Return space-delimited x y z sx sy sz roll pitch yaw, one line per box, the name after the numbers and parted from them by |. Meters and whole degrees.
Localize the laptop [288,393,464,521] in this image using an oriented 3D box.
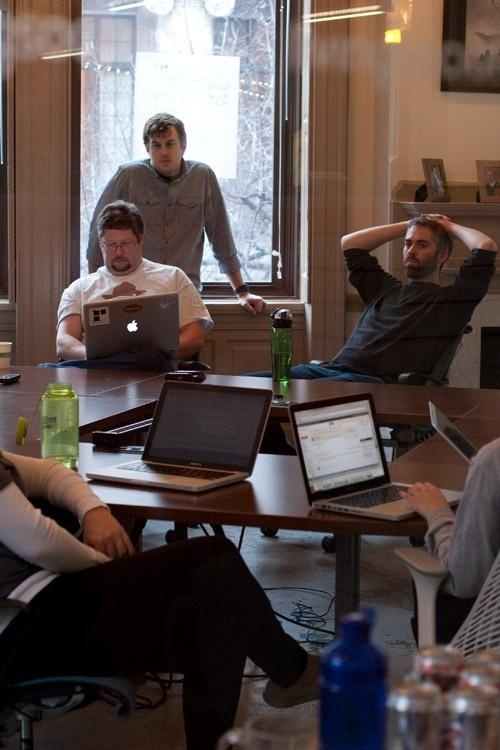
0.208 0.119 1.151 0.213 0.162 0.250 1 6 34 | laptop

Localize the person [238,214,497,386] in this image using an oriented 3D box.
0.573 -0.322 2.853 0.940 0.647 0.611 1 7 -36 | person

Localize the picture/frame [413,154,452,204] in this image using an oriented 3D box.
0.735 -0.773 2.751 0.077 0.187 0.175 -5 10 -24 | picture/frame

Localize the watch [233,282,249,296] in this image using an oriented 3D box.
-0.041 -0.395 3.210 0.067 0.046 0.074 4 13 23 | watch

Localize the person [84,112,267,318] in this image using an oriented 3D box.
-0.367 -0.572 3.323 0.927 1.260 0.330 2 30 -4 | person

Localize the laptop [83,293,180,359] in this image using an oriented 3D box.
-0.399 -0.169 2.362 0.314 0.200 0.207 -1 39 -5 | laptop

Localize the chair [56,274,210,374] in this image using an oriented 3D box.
-0.493 -0.129 2.932 0.737 0.479 0.372 -3 -6 -1 | chair
